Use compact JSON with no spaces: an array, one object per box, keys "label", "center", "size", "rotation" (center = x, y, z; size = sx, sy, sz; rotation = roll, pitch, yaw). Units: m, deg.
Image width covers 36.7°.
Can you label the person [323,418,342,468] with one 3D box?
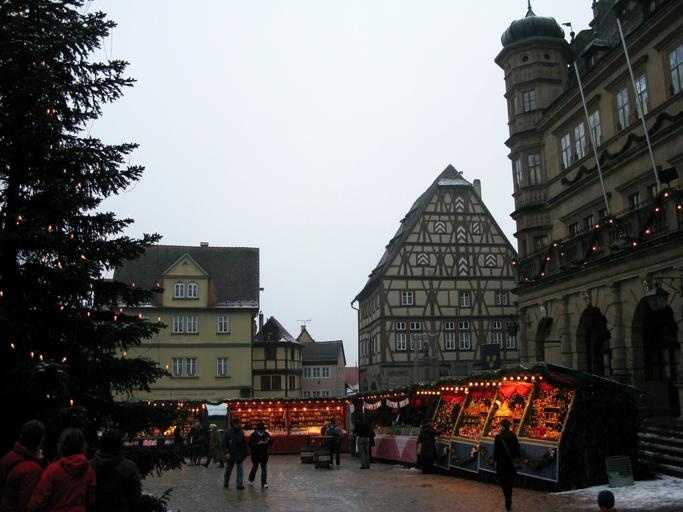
[{"label":"person","center":[-0.262,5.940,33.171],"size":[0.442,1.518,0.498],"rotation":[-5,-4,17]}]

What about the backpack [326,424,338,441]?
[{"label":"backpack","center":[-0.303,5.627,32.953],"size":[0.497,0.603,0.327],"rotation":[-2,-7,20]}]

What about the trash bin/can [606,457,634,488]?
[{"label":"trash bin/can","center":[6.137,4.777,22.822],"size":[0.566,0.705,0.586],"rotation":[-7,-12,27]}]

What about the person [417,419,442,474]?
[{"label":"person","center":[2.328,5.119,27.766],"size":[0.555,1.441,0.560],"rotation":[2,-15,-8]}]

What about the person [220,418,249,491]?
[{"label":"person","center":[-2.632,4.900,25.626],"size":[0.464,1.810,1.009],"rotation":[8,-17,-27]}]

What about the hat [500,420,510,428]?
[{"label":"hat","center":[3.563,3.645,22.389],"size":[0.146,0.190,0.179],"rotation":[2,-7,8]}]

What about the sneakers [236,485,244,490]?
[{"label":"sneakers","center":[-2.486,5.641,25.170],"size":[0.167,0.182,0.076],"rotation":[0,-6,-3]}]

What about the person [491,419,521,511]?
[{"label":"person","center":[3.551,4.431,22.045],"size":[0.540,2.013,1.150],"rotation":[-3,-16,10]}]

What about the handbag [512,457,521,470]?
[{"label":"handbag","center":[3.708,4.416,21.918],"size":[0.193,0.307,0.158],"rotation":[-3,-5,4]}]
